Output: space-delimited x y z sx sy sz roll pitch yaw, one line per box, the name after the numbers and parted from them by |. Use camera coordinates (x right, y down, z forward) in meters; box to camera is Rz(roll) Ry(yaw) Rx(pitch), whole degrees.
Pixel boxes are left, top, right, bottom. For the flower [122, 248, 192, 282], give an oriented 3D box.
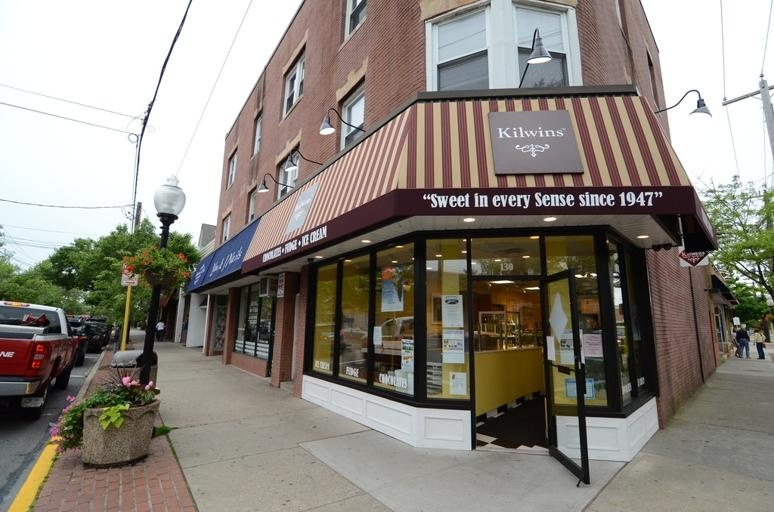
-5.353 0.297 11.570 0.997 0.681 1.056 3 -9 -7 | flower

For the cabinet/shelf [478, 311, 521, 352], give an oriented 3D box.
2.827 1.934 12.392 0.605 0.799 1.190 -3 -7 37 | cabinet/shelf
